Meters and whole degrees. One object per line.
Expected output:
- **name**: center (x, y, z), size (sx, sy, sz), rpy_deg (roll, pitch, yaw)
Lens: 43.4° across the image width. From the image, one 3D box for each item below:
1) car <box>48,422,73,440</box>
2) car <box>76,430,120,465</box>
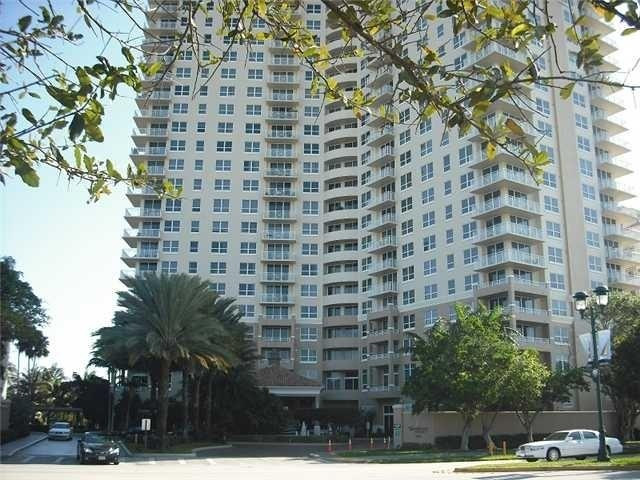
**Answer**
- **car**: center (-24.395, 17.916, 75.350), size (1.747, 1.732, 3.639), rpy_deg (3, -18, -12)
- **car**: center (-12.974, 12.214, 47.152), size (1.974, 2.023, 4.003), rpy_deg (8, -20, -25)
